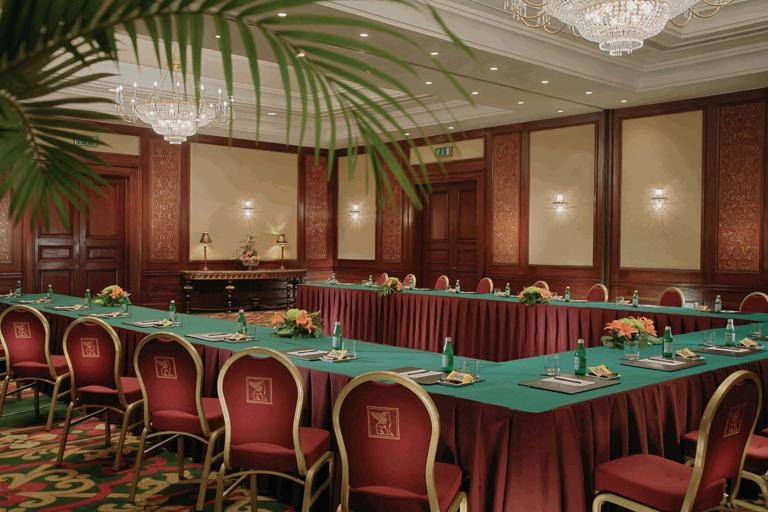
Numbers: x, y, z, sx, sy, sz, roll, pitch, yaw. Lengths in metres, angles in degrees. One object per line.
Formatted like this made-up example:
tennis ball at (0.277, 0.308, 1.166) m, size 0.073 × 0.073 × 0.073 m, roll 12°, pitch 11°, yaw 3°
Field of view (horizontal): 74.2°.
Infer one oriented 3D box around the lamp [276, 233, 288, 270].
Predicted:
lamp at (-2.678, -0.161, 13.107) m, size 0.273 × 0.902 × 0.573 m, roll 0°, pitch 0°, yaw -12°

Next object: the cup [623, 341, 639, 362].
cup at (1.760, 0.680, 3.621) m, size 0.121 × 0.134 × 0.116 m, roll -2°, pitch -1°, yaw 0°

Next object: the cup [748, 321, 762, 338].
cup at (3.382, 0.668, 4.602) m, size 0.115 × 0.167 × 0.117 m, roll -1°, pitch 6°, yaw 0°

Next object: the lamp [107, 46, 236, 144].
lamp at (-3.451, -2.765, 8.305) m, size 1.896 × 1.733 × 1.914 m, roll 19°, pitch 22°, yaw 36°

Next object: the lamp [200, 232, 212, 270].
lamp at (-4.318, -0.139, 12.176) m, size 0.276 × 0.886 × 0.385 m, roll 0°, pitch 0°, yaw -20°

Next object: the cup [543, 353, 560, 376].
cup at (1.084, 0.702, 3.321) m, size 0.118 × 0.168 × 0.120 m, roll -1°, pitch -2°, yaw 0°

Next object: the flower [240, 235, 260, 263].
flower at (-3.413, -0.158, 12.705) m, size 0.475 × 0.757 × 0.539 m, roll 0°, pitch 0°, yaw -14°
